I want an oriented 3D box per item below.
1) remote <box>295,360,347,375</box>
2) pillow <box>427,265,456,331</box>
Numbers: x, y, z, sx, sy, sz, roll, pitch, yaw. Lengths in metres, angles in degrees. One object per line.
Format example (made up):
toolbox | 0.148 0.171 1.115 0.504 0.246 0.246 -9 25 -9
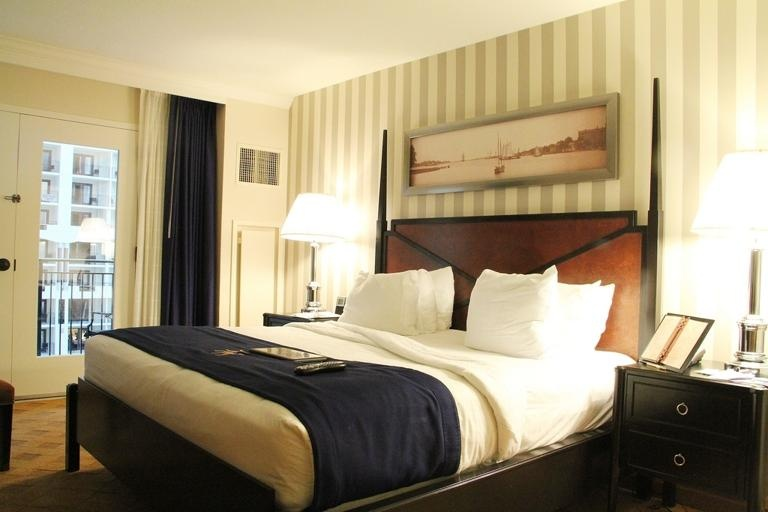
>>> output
remote | -0.319 0.597 3.141 0.139 0.051 0.320 2 2 41
pillow | 0.452 0.329 4.592 0.121 0.382 0.388 5 -6 -30
